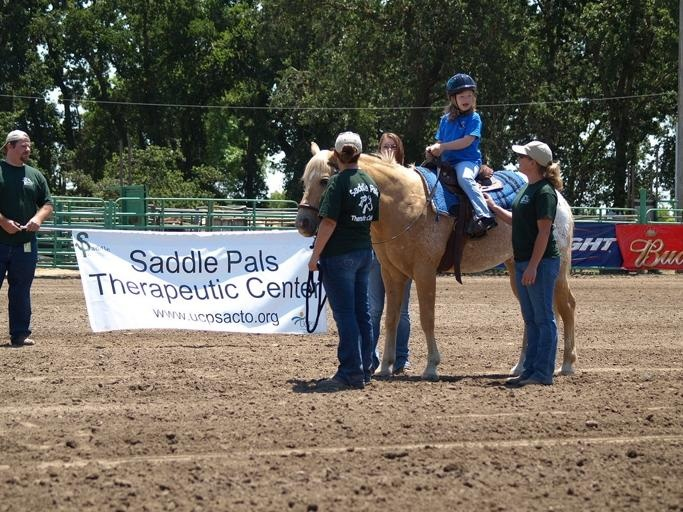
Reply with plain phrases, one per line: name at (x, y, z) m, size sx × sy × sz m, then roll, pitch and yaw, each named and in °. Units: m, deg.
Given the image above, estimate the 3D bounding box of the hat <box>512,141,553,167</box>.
hat at (5.886, -3.072, 38.702) m, size 0.994 × 0.585 × 0.739 m, roll 21°, pitch 13°, yaw 3°

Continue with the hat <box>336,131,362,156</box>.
hat at (0.203, -3.477, 38.642) m, size 0.772 × 0.625 × 1.320 m, roll -2°, pitch -10°, yaw 2°
